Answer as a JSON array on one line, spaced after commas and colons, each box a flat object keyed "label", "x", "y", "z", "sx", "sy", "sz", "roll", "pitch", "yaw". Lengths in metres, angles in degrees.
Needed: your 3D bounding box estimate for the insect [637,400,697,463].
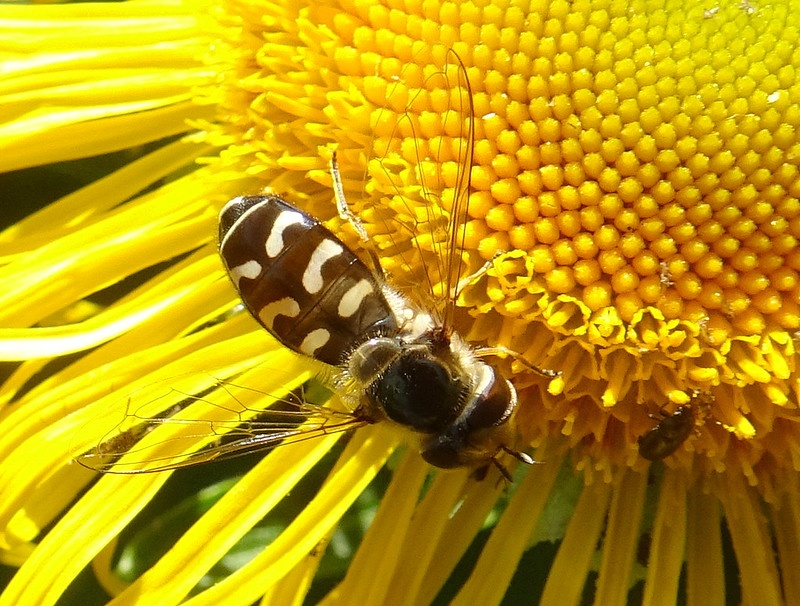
[{"label": "insect", "x": 0.502, "y": 0.242, "z": 1.617, "sx": 0.108, "sy": 0.115, "sz": 0.033, "roll": 44, "pitch": 30, "yaw": -8}]
